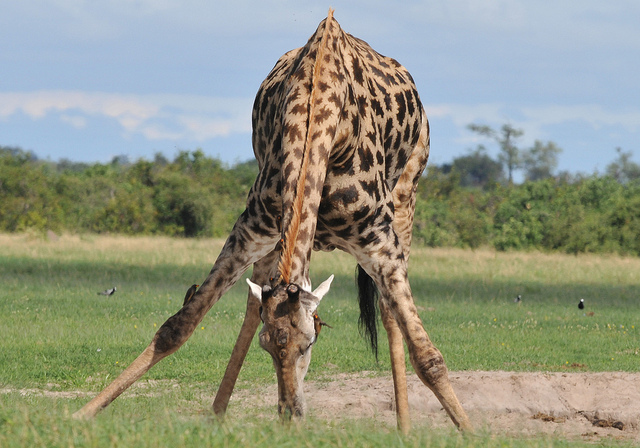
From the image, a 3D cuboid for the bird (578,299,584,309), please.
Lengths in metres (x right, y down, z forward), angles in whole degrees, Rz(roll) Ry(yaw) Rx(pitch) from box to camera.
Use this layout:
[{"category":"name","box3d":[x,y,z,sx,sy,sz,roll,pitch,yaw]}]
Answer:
[{"category":"bird","box3d":[7.515,2.302,42.546,0.092,0.252,0.340,2,-28,11]}]

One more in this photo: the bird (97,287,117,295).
[{"category":"bird","box3d":[-6.126,1.968,42.857,0.491,0.212,0.301,-13,22,13]}]

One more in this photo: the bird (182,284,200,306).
[{"category":"bird","box3d":[-3.021,1.583,34.356,0.191,0.659,0.250,23,1,32]}]

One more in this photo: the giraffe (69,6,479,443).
[{"category":"giraffe","box3d":[0.088,0.165,37.372,6.403,6.981,10.986,2,-5,7]}]
